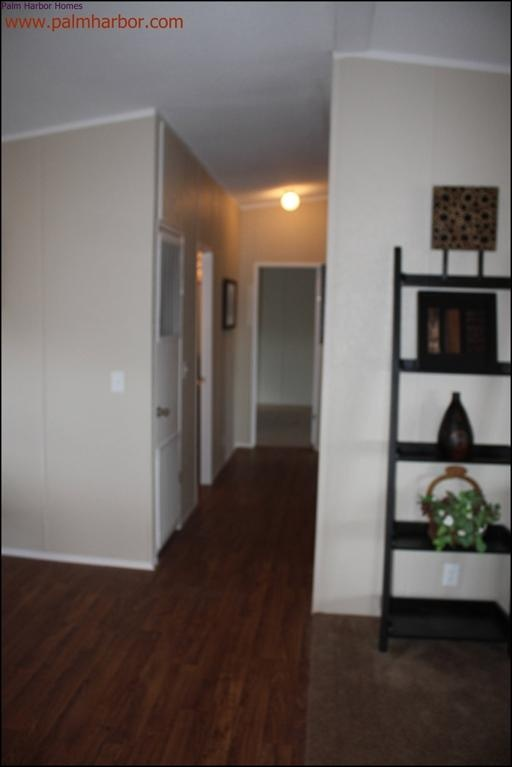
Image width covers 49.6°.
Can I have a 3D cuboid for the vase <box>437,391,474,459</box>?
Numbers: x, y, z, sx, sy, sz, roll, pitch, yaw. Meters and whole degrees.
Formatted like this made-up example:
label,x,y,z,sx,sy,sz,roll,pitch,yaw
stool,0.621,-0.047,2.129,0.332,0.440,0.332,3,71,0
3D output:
label,x,y,z,sx,sy,sz,roll,pitch,yaw
vase,0.743,0.162,2.068,0.103,0.256,0.121,-1,7,15
